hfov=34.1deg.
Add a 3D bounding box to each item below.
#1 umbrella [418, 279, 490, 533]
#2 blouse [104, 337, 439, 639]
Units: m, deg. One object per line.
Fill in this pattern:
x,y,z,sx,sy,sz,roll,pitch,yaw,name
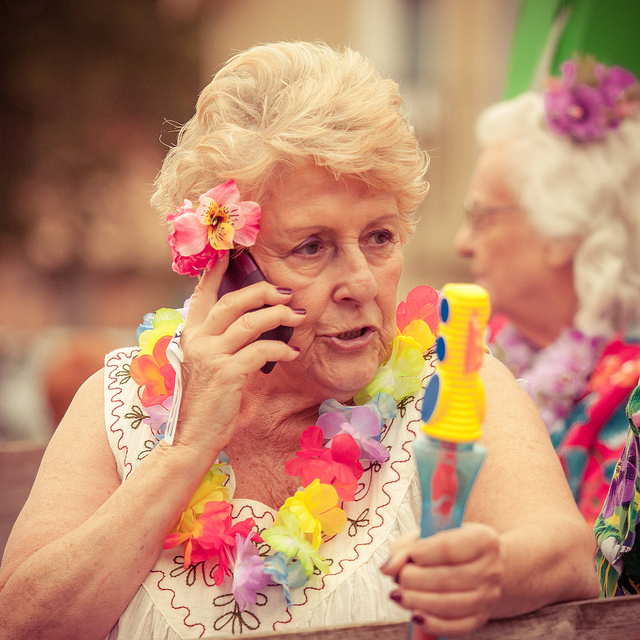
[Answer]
0.273,0.192,2.114,0.126,0.537,0.139,6,23,26,umbrella
-0.122,0.362,2.897,0.951,0.743,0.986,-7,14,-34,blouse
